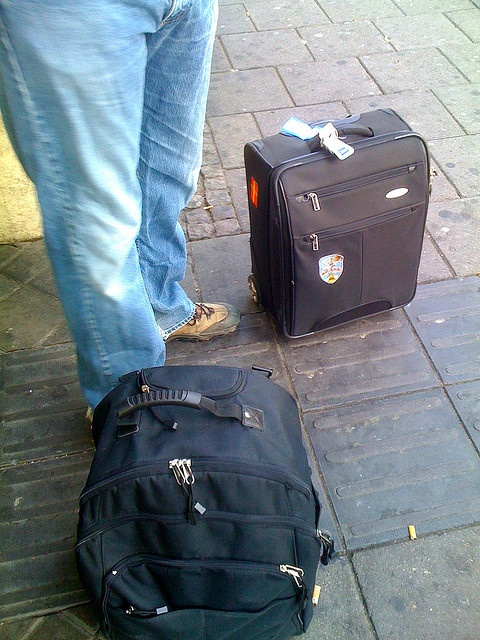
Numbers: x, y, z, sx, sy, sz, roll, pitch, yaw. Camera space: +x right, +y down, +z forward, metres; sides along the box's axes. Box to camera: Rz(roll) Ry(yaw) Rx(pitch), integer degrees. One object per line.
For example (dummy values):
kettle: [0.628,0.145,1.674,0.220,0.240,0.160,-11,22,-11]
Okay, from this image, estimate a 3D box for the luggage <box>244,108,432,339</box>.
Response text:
luggage: [0.318,-0.296,2.063,0.522,0.740,0.343,-16,46,-12]
